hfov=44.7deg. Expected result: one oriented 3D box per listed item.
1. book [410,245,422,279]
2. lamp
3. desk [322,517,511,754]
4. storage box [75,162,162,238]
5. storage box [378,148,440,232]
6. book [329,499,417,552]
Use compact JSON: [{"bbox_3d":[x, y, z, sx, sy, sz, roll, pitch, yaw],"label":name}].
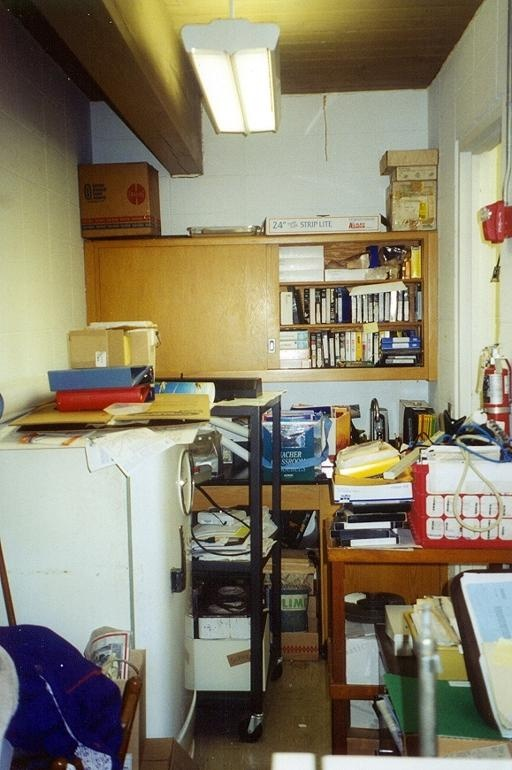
[{"bbox_3d":[0.842,-0.640,3.273,0.058,0.164,0.049,-1,6,16],"label":"book"},{"bbox_3d":[-0.053,-1.031,2.124,0.279,0.242,0.545,0,6,6],"label":"lamp"},{"bbox_3d":[0.589,0.775,2.222,0.542,0.910,0.735,-1,4,4],"label":"desk"},{"bbox_3d":[-0.724,-0.937,3.318,0.356,0.399,0.347,-1,-2,-2],"label":"storage box"},{"bbox_3d":[0.775,-1.028,3.430,0.342,0.544,0.408,0,8,3],"label":"storage box"},{"bbox_3d":[0.351,0.430,1.954,0.161,0.086,0.168,-1,3,1],"label":"book"}]
